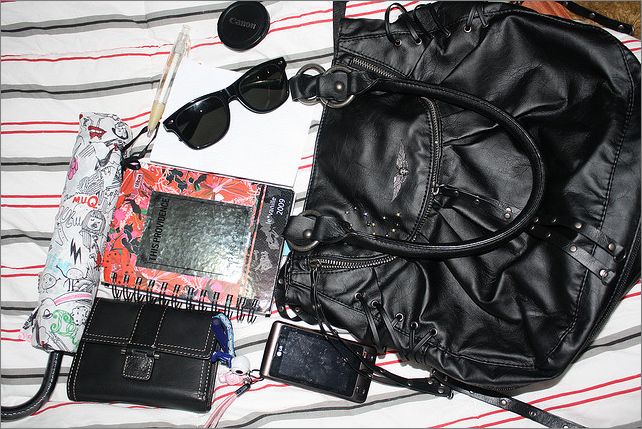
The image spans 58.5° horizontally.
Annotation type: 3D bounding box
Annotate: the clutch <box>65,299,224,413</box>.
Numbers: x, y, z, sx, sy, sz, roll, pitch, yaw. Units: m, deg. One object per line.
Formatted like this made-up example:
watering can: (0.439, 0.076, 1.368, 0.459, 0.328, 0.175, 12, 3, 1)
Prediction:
clutch: (-0.456, 0.362, 1.577, 0.365, 0.261, 0.114, 8, -7, 1)

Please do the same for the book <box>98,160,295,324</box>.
book: (-0.325, 0.057, 1.558, 0.465, 0.343, 0.102, 6, -9, 8)

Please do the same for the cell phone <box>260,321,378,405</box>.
cell phone: (-0.022, 0.382, 1.471, 0.310, 0.165, 0.051, 12, -2, -1)
